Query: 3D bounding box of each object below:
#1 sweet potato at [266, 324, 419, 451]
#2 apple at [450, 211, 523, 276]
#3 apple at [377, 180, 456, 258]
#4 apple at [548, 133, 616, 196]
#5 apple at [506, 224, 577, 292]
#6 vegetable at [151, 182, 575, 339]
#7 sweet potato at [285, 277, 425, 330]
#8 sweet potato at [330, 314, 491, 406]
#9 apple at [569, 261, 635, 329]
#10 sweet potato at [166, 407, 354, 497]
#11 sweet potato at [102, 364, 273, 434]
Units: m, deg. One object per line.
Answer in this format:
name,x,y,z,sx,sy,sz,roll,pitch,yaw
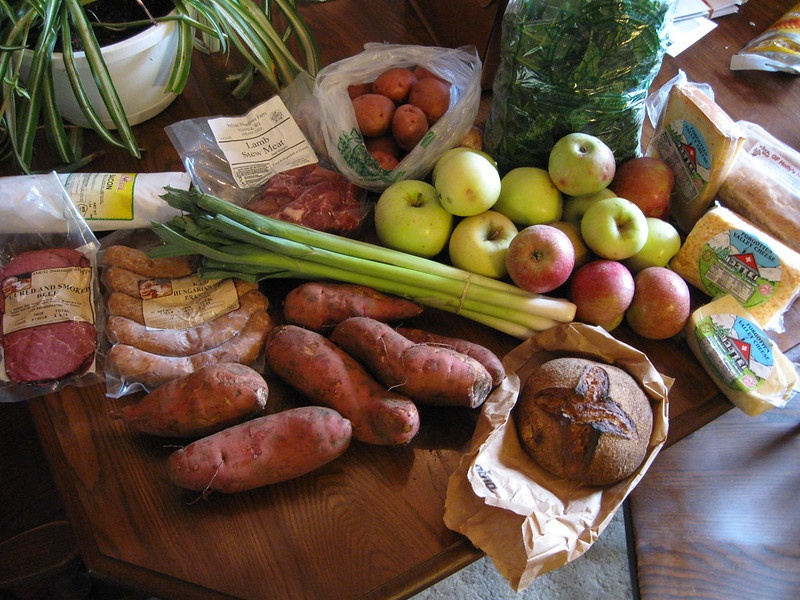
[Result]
sweet potato,-0.132,0.177,1.375,0.380,0.133,0.144,32,45,17
apple,0.186,-0.125,1.524,0.136,0.143,0.141,-29,15,6
apple,0.033,-0.183,1.568,0.159,0.188,0.172,18,65,1
apple,0.407,-0.300,1.478,0.124,0.133,0.133,23,58,39
apple,0.307,-0.089,1.435,0.127,0.142,0.130,-13,9,34
vegetable,-0.068,-0.075,1.434,0.617,0.156,0.154,13,44,-1
sweet potato,-0.098,0.026,1.462,0.262,0.091,0.112,1,40,-5
sweet potato,0.018,0.131,1.388,0.340,0.133,0.153,18,25,16
apple,0.446,-0.015,1.442,0.136,0.132,0.176,0,77,17
sweet potato,-0.266,0.365,1.324,0.371,0.158,0.144,-15,41,-5
sweet potato,-0.420,0.212,1.328,0.300,0.125,0.138,-13,34,-15
